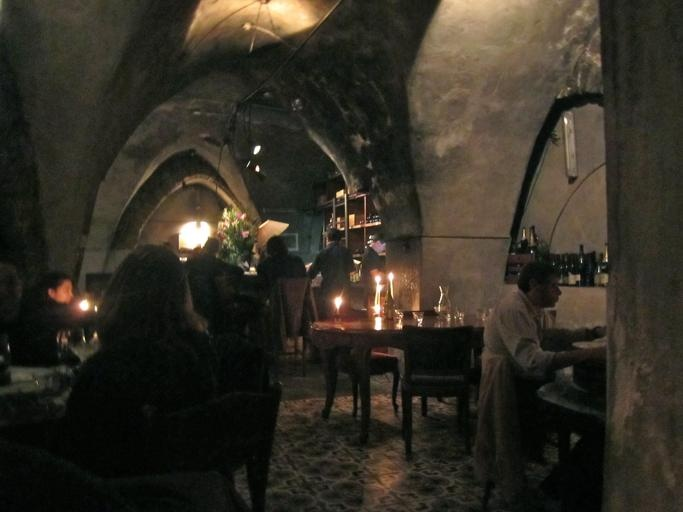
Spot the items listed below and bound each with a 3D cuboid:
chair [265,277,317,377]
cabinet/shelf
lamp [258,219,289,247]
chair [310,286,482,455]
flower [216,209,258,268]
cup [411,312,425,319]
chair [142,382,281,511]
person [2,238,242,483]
[{"bbox_3d":[-0.403,0.555,5.630,0.368,0.800,0.998,-1,4,-3],"label":"chair"},{"bbox_3d":[0.076,-0.294,6.692,0.239,0.775,0.755,0,-2,-21],"label":"cabinet/shelf"},{"bbox_3d":[-0.612,-0.193,5.755,0.211,0.244,0.067,18,25,1],"label":"lamp"},{"bbox_3d":[0.243,0.670,3.918,0.976,0.671,0.645,2,5,35],"label":"chair"},{"bbox_3d":[-0.931,-0.129,5.917,0.326,0.485,0.337,-4,-17,29],"label":"flower"},{"bbox_3d":[0.451,0.353,3.984,0.046,0.035,0.049,2,-4,0],"label":"cup"},{"bbox_3d":[-0.404,0.607,2.133,0.297,0.383,0.303,5,-13,-23],"label":"chair"},{"bbox_3d":[-0.574,0.322,2.096,0.493,0.836,0.546,6,-3,-37],"label":"person"}]
